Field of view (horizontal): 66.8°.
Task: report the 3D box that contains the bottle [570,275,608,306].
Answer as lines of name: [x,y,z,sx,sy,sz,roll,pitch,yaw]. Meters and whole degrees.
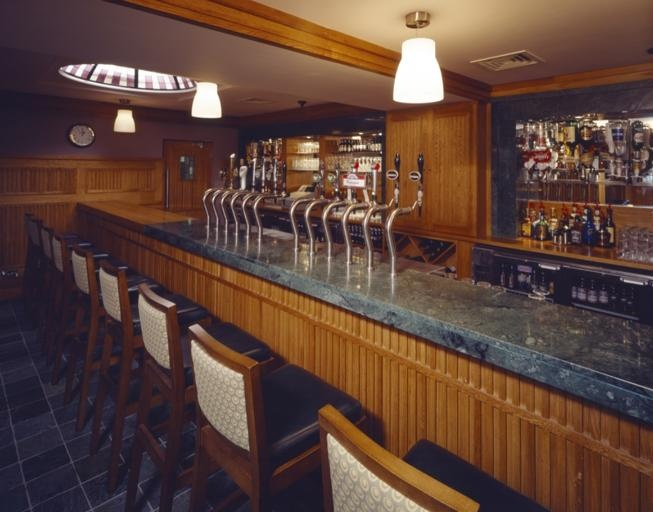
bottle: [2.488,0.324,4.665,0.317,0.246,0.093,7,16,28]

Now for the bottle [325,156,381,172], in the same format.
bottle: [0.363,-1.390,7.504,0.284,0.260,1.144,-12,19,-34]

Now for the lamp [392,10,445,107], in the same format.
lamp: [0.564,-1.219,3.071,0.305,0.526,0.322,6,14,32]

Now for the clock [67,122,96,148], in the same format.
clock: [-3.709,-1.817,7.482,0.058,0.330,0.303,7,9,33]

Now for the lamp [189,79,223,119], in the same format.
lamp: [-1.115,-1.437,4.561,0.235,0.303,0.217,-3,14,-7]

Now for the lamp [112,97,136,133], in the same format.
lamp: [-2.864,-1.951,7.007,0.273,0.445,0.277,2,2,41]
